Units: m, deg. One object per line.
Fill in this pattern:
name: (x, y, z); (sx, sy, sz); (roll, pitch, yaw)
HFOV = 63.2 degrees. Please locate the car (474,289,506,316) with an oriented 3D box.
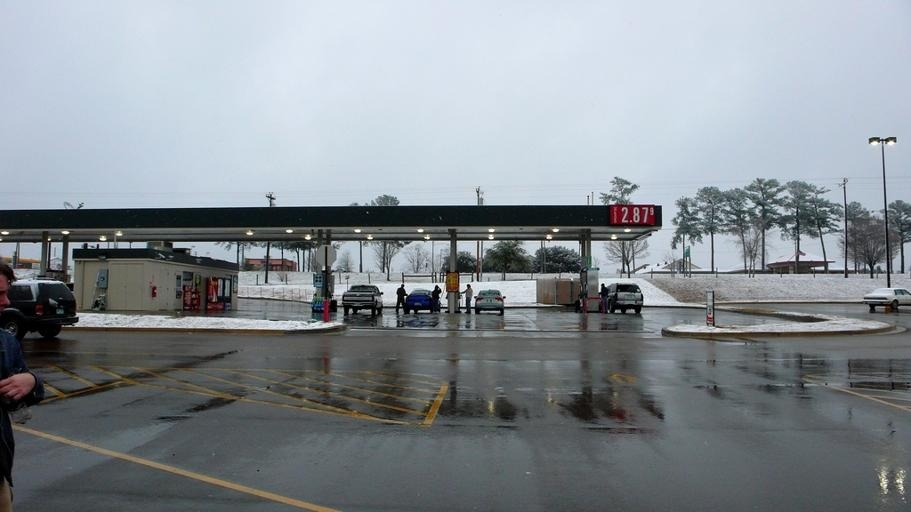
car: (2.153, 2.983, 47.080); (1.922, 1.410, 3.977); (1, 0, 5)

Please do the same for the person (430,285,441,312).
person: (-1.281, 2.729, 47.731); (0.497, 1.699, 1.486); (-2, -3, -4)

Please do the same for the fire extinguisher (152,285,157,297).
fire extinguisher: (-17.817, 2.104, 44.016); (0.107, 0.634, 0.408); (-3, -3, 11)
